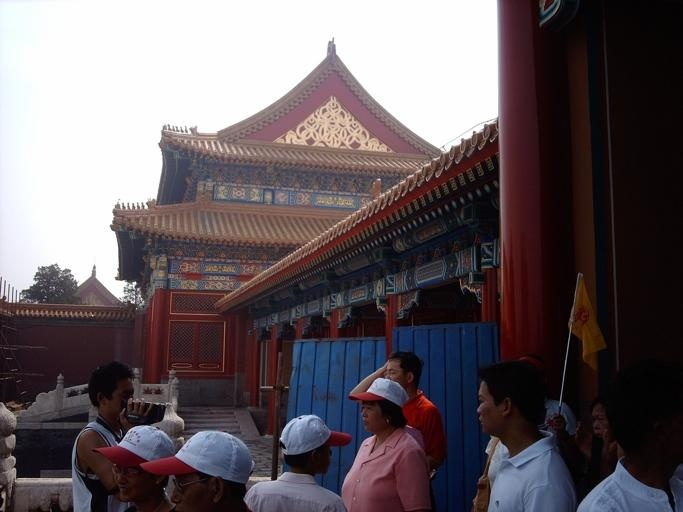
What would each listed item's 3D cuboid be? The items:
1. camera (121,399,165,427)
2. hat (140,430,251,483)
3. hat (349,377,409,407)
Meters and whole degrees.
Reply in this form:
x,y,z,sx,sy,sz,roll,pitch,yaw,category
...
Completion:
x,y,z,sx,sy,sz,roll,pitch,yaw,category
-1.257,1.001,4.235,0.174,0.075,0.199,6,-39,-17,camera
-0.643,1.006,3.185,0.364,0.192,0.252,10,-18,4,hat
0.269,0.862,4.320,0.272,0.127,0.182,7,-16,0,hat
